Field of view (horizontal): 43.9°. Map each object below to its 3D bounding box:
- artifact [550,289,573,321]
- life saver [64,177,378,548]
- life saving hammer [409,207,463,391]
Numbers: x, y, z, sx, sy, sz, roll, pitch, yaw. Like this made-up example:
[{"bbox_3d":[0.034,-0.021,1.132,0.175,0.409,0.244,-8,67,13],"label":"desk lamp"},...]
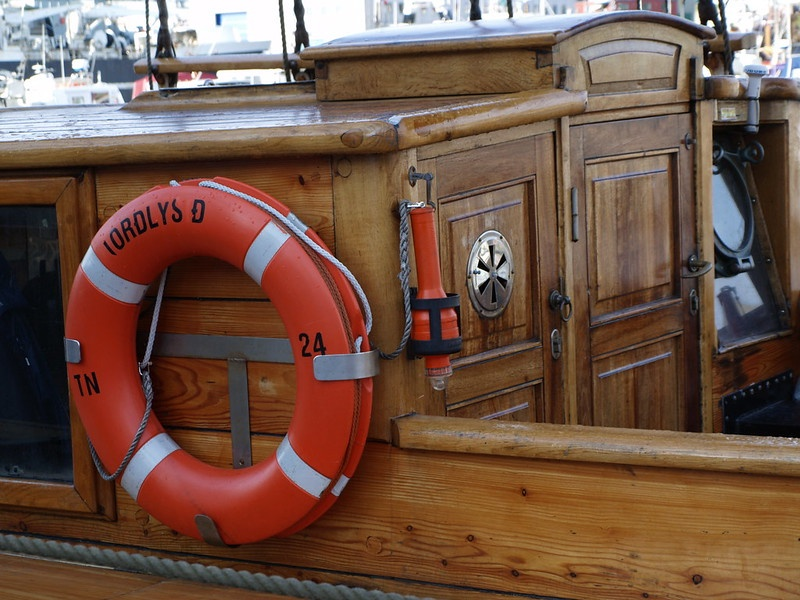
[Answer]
[{"bbox_3d":[0.621,0.022,3.800,0.062,0.128,0.090,-1,13,31],"label":"artifact"},{"bbox_3d":[-0.585,0.195,3.137,1.035,1.137,0.262,-1,8,23],"label":"life saver"},{"bbox_3d":[0.100,-0.005,3.060,0.166,0.564,0.117,-4,7,-1],"label":"life saving hammer"}]
